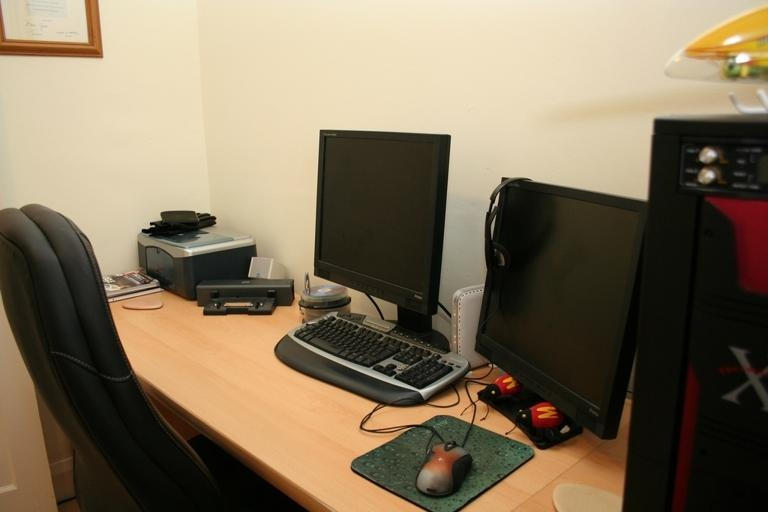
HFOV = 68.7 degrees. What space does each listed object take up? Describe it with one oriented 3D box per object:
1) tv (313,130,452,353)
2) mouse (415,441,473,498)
[{"bbox_3d":[0.006,-0.051,1.631,0.249,0.629,0.534,-11,20,-43],"label":"tv"},{"bbox_3d":[0.131,0.441,1.187,0.092,0.049,0.155,-1,15,25],"label":"mouse"}]
